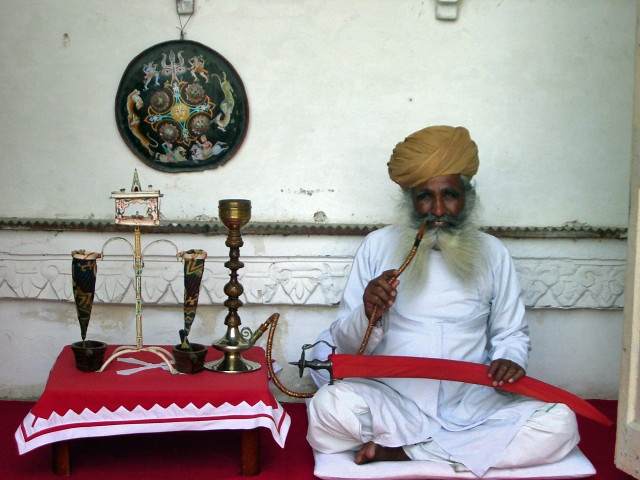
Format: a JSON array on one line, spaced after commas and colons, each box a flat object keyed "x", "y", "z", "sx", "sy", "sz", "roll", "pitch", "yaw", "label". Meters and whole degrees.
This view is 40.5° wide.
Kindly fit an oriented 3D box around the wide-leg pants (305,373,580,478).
[{"x": 0.715, "y": 1.112, "z": 5.105, "sx": 1.576, "sy": 0.514, "sz": 0.378, "roll": 1, "pitch": 2, "yaw": 3, "label": "wide-leg pants"}]

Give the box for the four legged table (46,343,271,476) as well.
[{"x": -0.972, "y": 0.930, "z": 5.578, "sx": 1.498, "sy": 0.564, "sz": 1.282, "roll": 0, "pitch": 9, "yaw": -10, "label": "four legged table"}]

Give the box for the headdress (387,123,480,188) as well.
[{"x": 0.746, "y": -0.566, "z": 5.488, "sx": 0.468, "sy": 0.219, "sz": 0.391, "roll": -7, "pitch": 14, "yaw": -9, "label": "headdress"}]
